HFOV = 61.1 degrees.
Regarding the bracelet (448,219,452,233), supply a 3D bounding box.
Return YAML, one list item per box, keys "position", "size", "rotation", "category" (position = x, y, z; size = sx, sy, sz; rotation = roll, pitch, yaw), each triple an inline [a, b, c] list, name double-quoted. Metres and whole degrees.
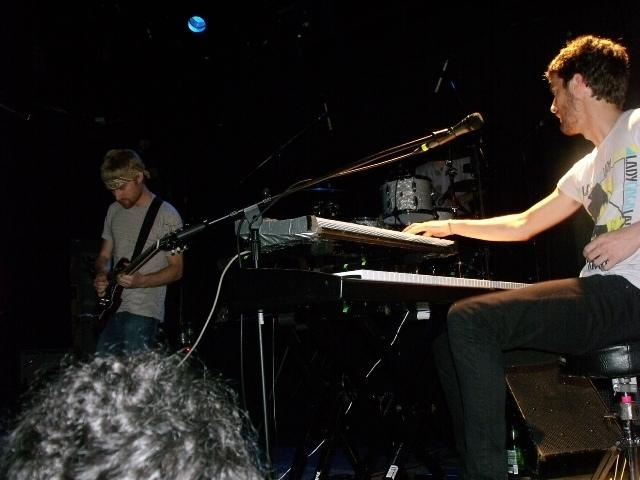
- position: [0.754, -0.084, 3.176]
  size: [0.022, 0.057, 0.036]
  rotation: [1, -21, 12]
  category: "bracelet"
